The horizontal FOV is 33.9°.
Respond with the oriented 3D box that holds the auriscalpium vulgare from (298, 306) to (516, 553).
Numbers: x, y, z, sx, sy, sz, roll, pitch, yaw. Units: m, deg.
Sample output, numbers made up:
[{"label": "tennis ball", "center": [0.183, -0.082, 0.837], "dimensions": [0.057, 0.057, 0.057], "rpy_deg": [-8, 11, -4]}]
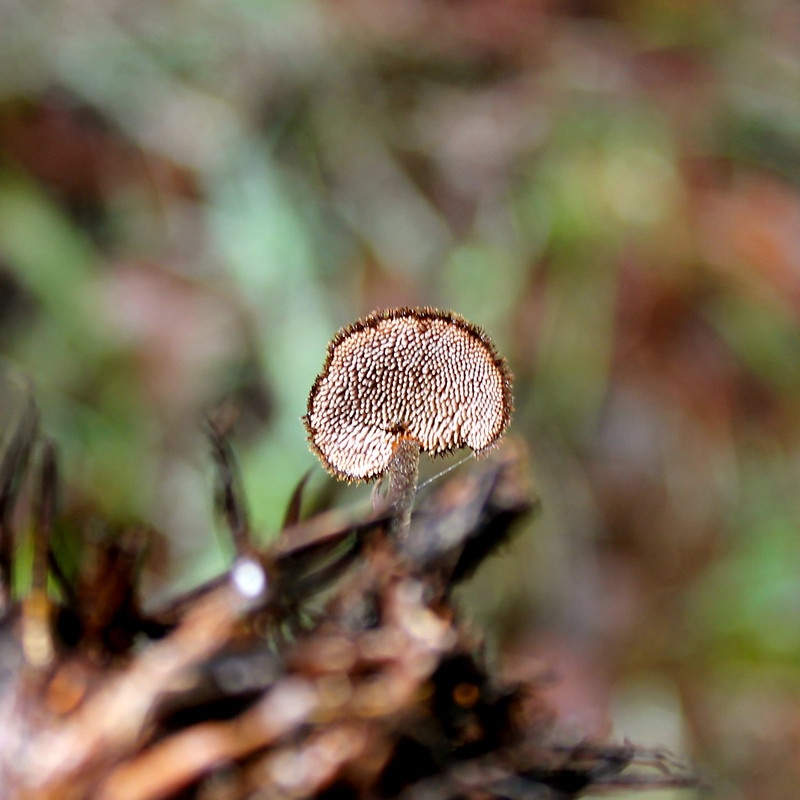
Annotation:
[{"label": "auriscalpium vulgare", "center": [0.008, 0.012, 0.729], "dimensions": [0.093, 0.126, 0.099], "rpy_deg": [2, 80, 3]}]
